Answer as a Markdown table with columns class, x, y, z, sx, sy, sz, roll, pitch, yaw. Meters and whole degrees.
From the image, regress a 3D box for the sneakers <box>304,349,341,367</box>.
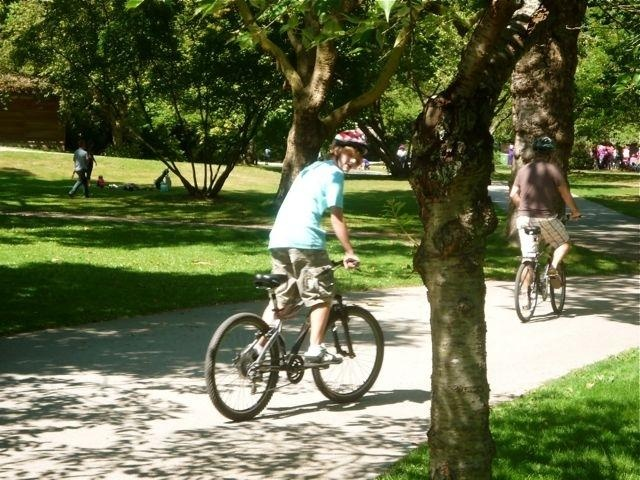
| class | x | y | z | sx | sy | sz | roll | pitch | yaw |
| --- | --- | --- | --- | --- | --- | --- | --- | --- | --- |
| sneakers | 0.017 | 1.132 | 7.717 | 0.404 | 0.147 | 0.135 | -2 | 7 | -18 |

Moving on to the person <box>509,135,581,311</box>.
| class | x | y | z | sx | sy | sz | roll | pitch | yaw |
| --- | --- | --- | --- | --- | --- | --- | --- | --- | --- |
| person | 3.202 | -0.161 | 11.568 | 1.006 | 2.465 | 0.966 | 2 | 1 | -4 |

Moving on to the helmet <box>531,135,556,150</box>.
| class | x | y | z | sx | sy | sz | roll | pitch | yaw |
| --- | --- | --- | --- | --- | --- | --- | --- | --- | --- |
| helmet | 3.203 | -1.354 | 11.509 | 0.309 | 0.139 | 0.281 | 0 | 3 | 6 |

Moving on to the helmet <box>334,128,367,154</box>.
| class | x | y | z | sx | sy | sz | roll | pitch | yaw |
| --- | --- | --- | --- | --- | --- | --- | --- | --- | --- |
| helmet | 0.296 | -0.970 | 7.800 | 0.308 | 0.142 | 0.218 | 4 | -30 | 50 |

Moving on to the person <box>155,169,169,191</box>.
| class | x | y | z | sx | sy | sz | roll | pitch | yaw |
| --- | --- | --- | --- | --- | --- | --- | --- | --- | --- |
| person | -7.060 | -2.674 | 36.202 | 0.593 | 0.717 | 0.937 | 2 | 0 | -20 |

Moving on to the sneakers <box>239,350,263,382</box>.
| class | x | y | z | sx | sy | sz | roll | pitch | yaw |
| --- | --- | --- | --- | --- | --- | --- | --- | --- | --- |
| sneakers | -0.655 | 1.149 | 7.330 | 0.200 | 0.268 | 0.098 | 43 | -18 | -25 |

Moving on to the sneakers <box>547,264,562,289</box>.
| class | x | y | z | sx | sy | sz | roll | pitch | yaw |
| --- | --- | --- | --- | --- | --- | --- | --- | --- | --- |
| sneakers | 3.386 | 0.512 | 11.577 | 0.163 | 0.161 | 0.433 | -4 | -26 | 15 |
